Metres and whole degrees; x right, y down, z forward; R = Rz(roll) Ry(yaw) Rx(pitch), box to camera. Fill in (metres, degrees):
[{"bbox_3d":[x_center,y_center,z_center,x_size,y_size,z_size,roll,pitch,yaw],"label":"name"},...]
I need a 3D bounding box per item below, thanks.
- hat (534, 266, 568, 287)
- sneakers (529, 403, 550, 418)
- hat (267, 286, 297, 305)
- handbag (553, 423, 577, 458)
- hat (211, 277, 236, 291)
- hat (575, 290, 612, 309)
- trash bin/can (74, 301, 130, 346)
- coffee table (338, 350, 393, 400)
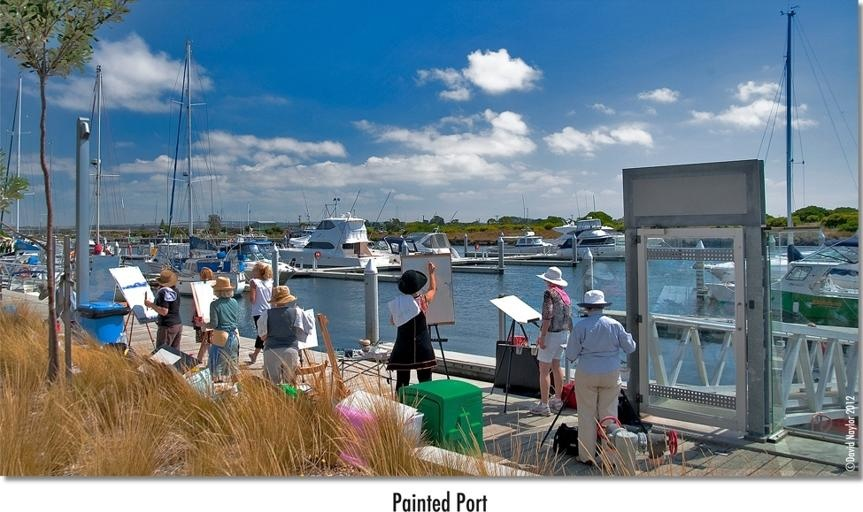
[{"bbox_3d":[2.065,0.357,11.103,0.682,0.274,0.634,8,3,-11],"label":"hat"},{"bbox_3d":[1.843,2.620,10.890,0.396,0.174,0.158,2,-1,14],"label":"sneakers"},{"bbox_3d":[-2.503,0.659,10.570,0.371,0.176,0.335,-2,4,43],"label":"hat"},{"bbox_3d":[1.995,2.786,9.645,0.559,0.499,0.249,0,-14,8],"label":"handbag"},{"bbox_3d":[-3.653,0.545,11.556,0.392,0.155,0.446,17,15,41],"label":"hat"},{"bbox_3d":[2.445,0.586,9.527,0.535,0.178,0.449,-3,3,-9],"label":"hat"},{"bbox_3d":[-6.563,1.375,12.831,0.887,0.766,0.842,-1,2,21],"label":"trash bin/can"},{"bbox_3d":[-1.217,2.146,11.745,1.090,0.741,0.931,1,-1,44],"label":"coffee table"}]
